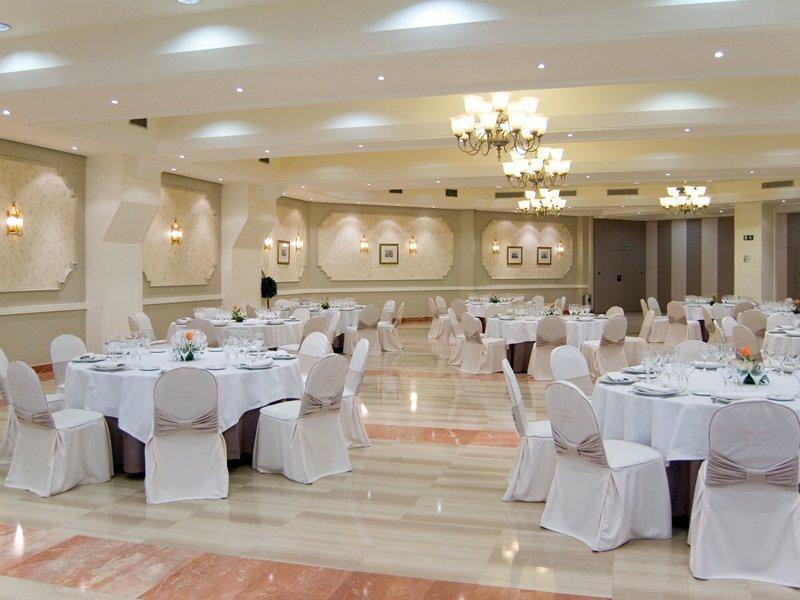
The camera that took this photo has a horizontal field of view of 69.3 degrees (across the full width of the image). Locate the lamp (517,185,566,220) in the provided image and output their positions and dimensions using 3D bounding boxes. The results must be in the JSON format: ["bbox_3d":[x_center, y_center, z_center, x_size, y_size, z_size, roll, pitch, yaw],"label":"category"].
[{"bbox_3d":[3.122,-2.203,12.973,1.150,0.529,1.025,-1,3,17],"label":"lamp"}]

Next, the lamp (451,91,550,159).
[{"bbox_3d":[1.256,-2.254,7.574,1.175,0.790,1.262,4,10,25],"label":"lamp"}]

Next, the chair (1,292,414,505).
[{"bbox_3d":[-2.059,1.044,5.346,2.006,1.101,1.381,1,5,10],"label":"chair"}]

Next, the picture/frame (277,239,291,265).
[{"bbox_3d":[-3.114,-1.291,15.545,0.044,0.601,0.670,-1,-1,18],"label":"picture/frame"}]

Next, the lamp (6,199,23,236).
[{"bbox_3d":[-6.036,-1.299,9.221,0.116,0.538,0.293,1,6,5],"label":"lamp"}]

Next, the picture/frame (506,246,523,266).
[{"bbox_3d":[3.774,-1.525,19.684,0.599,0.678,0.052,1,0,-30],"label":"picture/frame"}]

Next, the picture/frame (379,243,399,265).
[{"bbox_3d":[-0.398,-1.433,17.891,0.575,0.606,0.057,6,-10,-33],"label":"picture/frame"}]

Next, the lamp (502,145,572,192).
[{"bbox_3d":[2.265,-2.214,9.827,1.112,0.874,1.149,1,4,31],"label":"lamp"}]

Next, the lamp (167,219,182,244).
[{"bbox_3d":[-4.658,-1.433,12.210,0.093,0.527,0.434,2,6,17],"label":"lamp"}]
